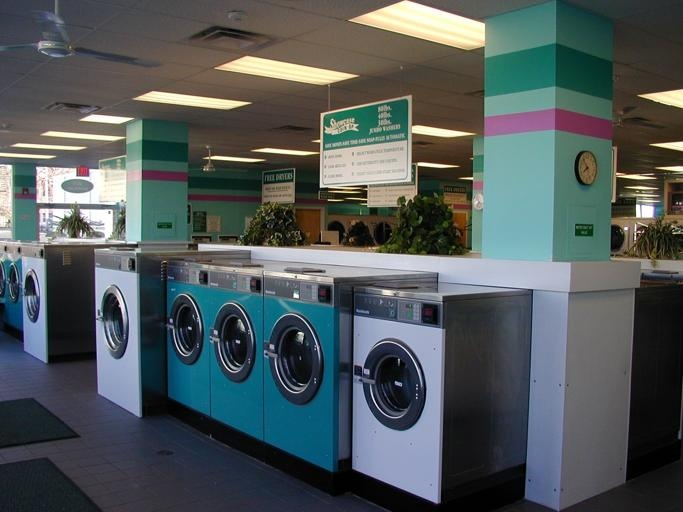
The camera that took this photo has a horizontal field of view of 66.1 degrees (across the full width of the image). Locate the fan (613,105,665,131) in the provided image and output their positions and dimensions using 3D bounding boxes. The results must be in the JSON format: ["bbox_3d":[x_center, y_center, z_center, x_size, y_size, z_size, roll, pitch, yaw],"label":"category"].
[{"bbox_3d":[4.459,-2.093,7.876,0.427,0.113,0.427,6,-4,-32],"label":"fan"}]

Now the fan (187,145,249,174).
[{"bbox_3d":[-3.185,-2.395,13.304,0.897,0.381,0.926,2,5,33],"label":"fan"}]

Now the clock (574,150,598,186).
[{"bbox_3d":[1.855,-0.680,4.016,0.254,0.295,0.046,-7,3,-41],"label":"clock"}]
